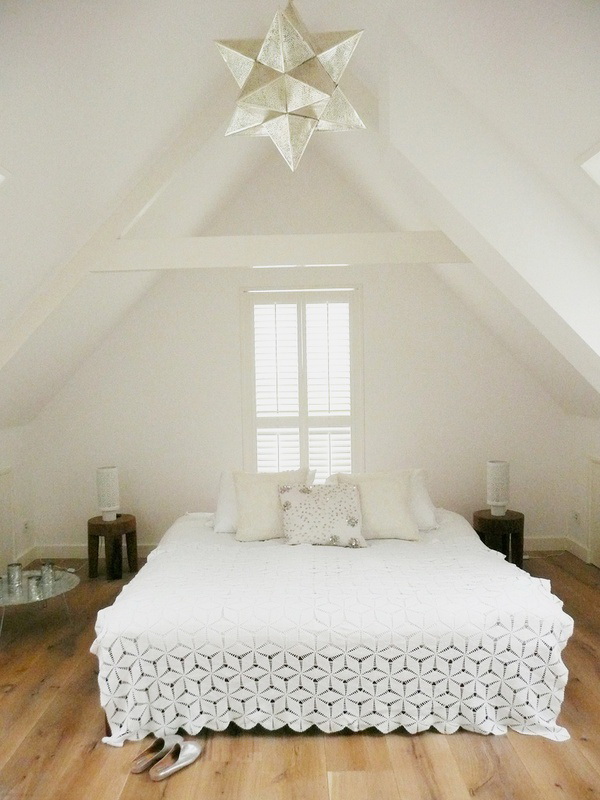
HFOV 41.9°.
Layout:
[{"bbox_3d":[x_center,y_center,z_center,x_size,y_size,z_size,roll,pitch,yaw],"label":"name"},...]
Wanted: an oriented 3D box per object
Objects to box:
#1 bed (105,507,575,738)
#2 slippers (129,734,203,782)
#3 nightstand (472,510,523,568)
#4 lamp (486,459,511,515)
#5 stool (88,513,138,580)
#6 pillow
[{"bbox_3d":[0.101,1.005,3.979,2.219,0.591,1.740,1,4,-4],"label":"bed"},{"bbox_3d":[-0.459,1.268,2.819,0.180,0.043,0.286,2,8,27],"label":"slippers"},{"bbox_3d":[1.202,0.807,4.749,0.294,0.320,0.291,-3,5,-18],"label":"nightstand"},{"bbox_3d":[1.185,0.533,4.717,0.120,0.316,0.122,-2,7,-2],"label":"lamp"},{"bbox_3d":[-1.144,0.918,4.896,0.341,0.385,0.350,0,1,1],"label":"stool"},{"bbox_3d":[0.134,0.590,4.211,1.187,0.333,0.358,-2,1,-39],"label":"pillow"}]
